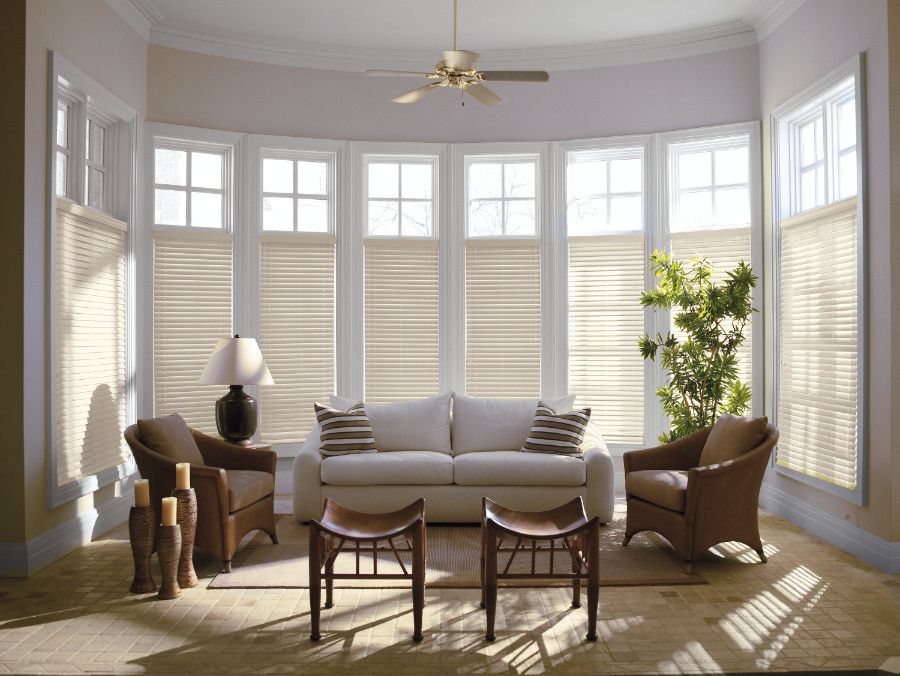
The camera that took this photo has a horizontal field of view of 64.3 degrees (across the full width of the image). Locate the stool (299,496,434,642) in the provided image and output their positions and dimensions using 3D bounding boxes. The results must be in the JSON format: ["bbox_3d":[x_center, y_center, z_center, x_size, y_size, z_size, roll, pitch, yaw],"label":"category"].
[{"bbox_3d":[-0.499,1.412,4.541,0.817,0.763,0.775,0,-9,-1],"label":"stool"}]

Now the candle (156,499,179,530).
[{"bbox_3d":[-1.873,1.163,4.766,0.084,0.201,0.150,-2,8,-12],"label":"candle"}]

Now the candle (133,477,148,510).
[{"bbox_3d":[-2.064,1.032,4.754,0.085,0.175,0.139,-4,9,-24],"label":"candle"}]

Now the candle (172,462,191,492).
[{"bbox_3d":[-1.856,0.971,4.962,0.107,0.213,0.246,-3,8,-22],"label":"candle"}]

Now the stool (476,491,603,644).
[{"bbox_3d":[0.573,1.426,4.556,0.817,0.744,0.805,-1,-10,5],"label":"stool"}]

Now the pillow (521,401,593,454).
[{"bbox_3d":[1.005,0.807,6.410,0.688,0.592,0.357,2,-18,14],"label":"pillow"}]

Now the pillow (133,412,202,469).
[{"bbox_3d":[-2.195,0.794,5.501,0.224,0.373,0.480,-17,-8,14],"label":"pillow"}]
